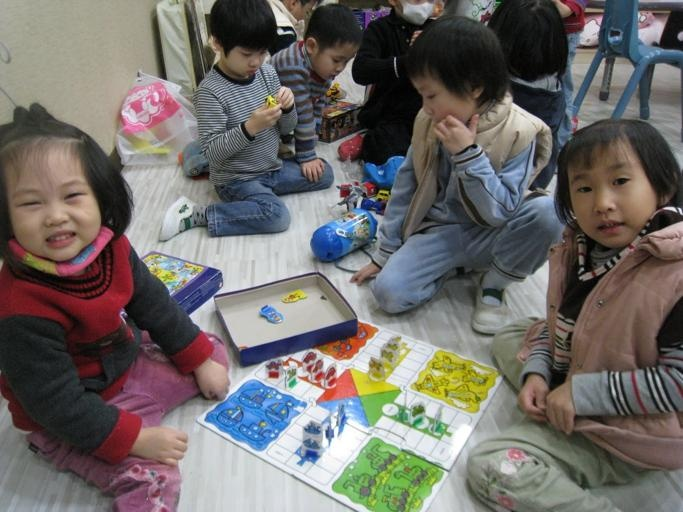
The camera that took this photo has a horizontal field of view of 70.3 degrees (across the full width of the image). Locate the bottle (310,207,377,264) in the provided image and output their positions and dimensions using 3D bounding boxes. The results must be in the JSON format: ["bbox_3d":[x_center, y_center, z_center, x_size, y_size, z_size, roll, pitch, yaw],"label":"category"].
[{"bbox_3d":[0.013,-0.077,1.922,0.139,0.138,0.286,17,31,39],"label":"bottle"}]

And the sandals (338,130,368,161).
[{"bbox_3d":[0.059,-0.596,2.639,0.212,0.121,0.083,-30,7,-34],"label":"sandals"}]

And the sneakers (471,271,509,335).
[{"bbox_3d":[0.508,0.154,1.624,0.077,0.086,0.219,2,32,13],"label":"sneakers"}]

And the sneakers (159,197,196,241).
[{"bbox_3d":[-0.678,-0.151,2.041,0.089,0.084,0.231,13,53,15],"label":"sneakers"}]
